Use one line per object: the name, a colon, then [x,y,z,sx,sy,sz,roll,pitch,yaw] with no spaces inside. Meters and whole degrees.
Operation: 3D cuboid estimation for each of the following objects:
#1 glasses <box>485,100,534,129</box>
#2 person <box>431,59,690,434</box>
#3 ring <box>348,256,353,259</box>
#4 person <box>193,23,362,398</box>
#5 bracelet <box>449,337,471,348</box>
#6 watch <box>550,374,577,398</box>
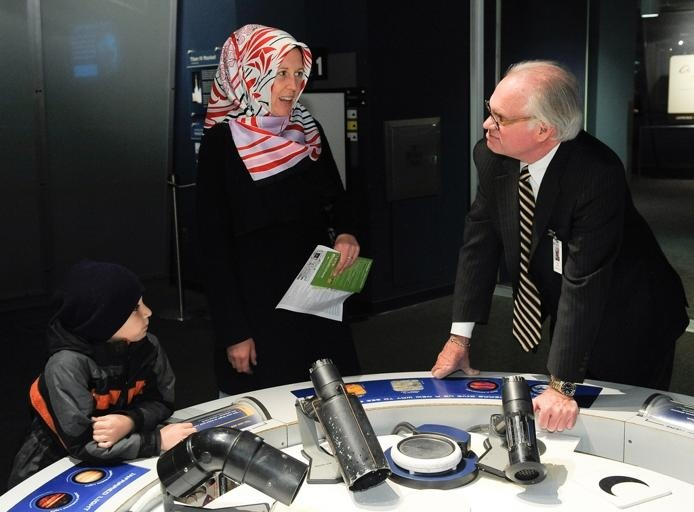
glasses: [0.480,-0.409,1.542,0.089,0.027,0.088,-8,30,-2]
person: [0.666,-0.011,1.765,0.808,1.206,0.628,-20,25,-35]
ring: [0.016,0.010,1.922,0.011,0.011,0.008,-1,2,-42]
person: [-0.277,-0.168,1.981,0.576,1.287,0.455,-9,20,-8]
bracelet: [0.399,0.304,1.842,0.049,0.020,0.039,22,3,-6]
watch: [0.630,0.379,1.539,0.059,0.018,0.061,16,6,-18]
